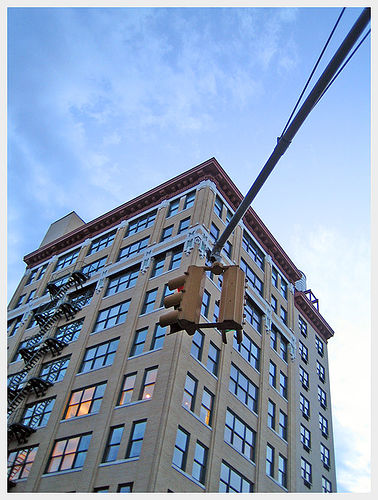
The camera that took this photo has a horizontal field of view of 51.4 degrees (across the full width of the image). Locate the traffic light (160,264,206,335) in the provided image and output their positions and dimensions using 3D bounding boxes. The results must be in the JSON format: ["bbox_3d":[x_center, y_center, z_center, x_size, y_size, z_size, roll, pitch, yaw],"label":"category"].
[{"bbox_3d":[-0.034,0.529,4.480,0.465,0.926,0.301,-12,-56,16],"label":"traffic light"}]
